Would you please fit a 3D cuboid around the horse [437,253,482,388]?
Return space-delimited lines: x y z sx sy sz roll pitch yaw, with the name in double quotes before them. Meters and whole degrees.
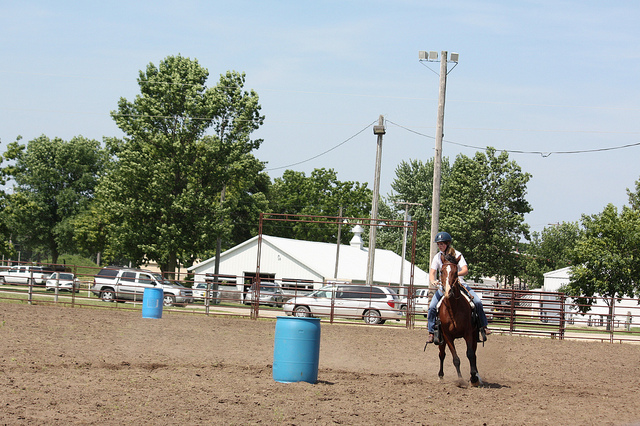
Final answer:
"horse" 6.301 4.984 46.115 2.032 5.809 2.227 1 0 7

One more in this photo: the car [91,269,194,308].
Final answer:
"car" -11.544 4.923 64.198 6.062 2.552 2.822 4 -8 2

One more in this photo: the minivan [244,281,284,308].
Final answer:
"minivan" -3.627 5.852 70.386 1.864 1.597 4.114 0 -11 2

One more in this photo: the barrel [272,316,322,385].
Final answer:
"barrel" -1.102 6.169 44.794 2.065 2.927 0.818 -1 7 -5

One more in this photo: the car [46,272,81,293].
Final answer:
"car" -15.884 4.329 61.809 1.599 0.928 2.917 1 -8 -5
